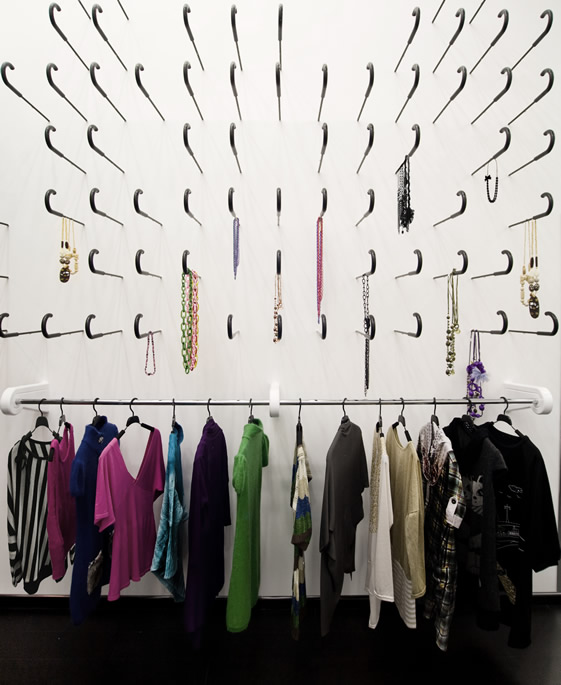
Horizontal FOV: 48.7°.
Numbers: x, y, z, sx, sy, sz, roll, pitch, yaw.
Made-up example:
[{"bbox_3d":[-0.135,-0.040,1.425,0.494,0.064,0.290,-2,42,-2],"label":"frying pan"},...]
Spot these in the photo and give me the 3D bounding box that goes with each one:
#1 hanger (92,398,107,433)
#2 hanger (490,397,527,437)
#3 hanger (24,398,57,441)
[{"bbox_3d":[-0.796,0.324,2.734,0.055,0.130,0.363,1,-8,-16],"label":"hanger"},{"bbox_3d":[1.018,0.337,2.798,0.096,0.177,0.468,-2,-8,18],"label":"hanger"},{"bbox_3d":[-1.104,0.355,2.846,0.109,0.251,0.004,1,4,4],"label":"hanger"}]
